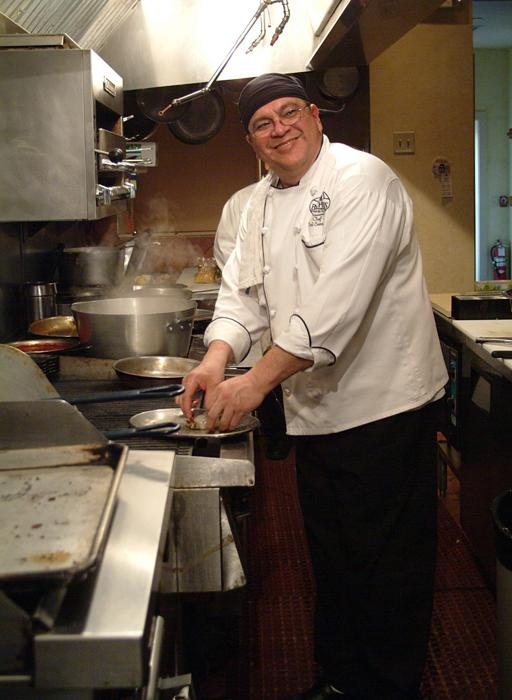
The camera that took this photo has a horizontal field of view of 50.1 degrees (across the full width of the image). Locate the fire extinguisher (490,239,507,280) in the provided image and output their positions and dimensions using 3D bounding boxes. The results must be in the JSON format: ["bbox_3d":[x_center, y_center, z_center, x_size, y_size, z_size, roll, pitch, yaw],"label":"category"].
[{"bbox_3d":[2.885,-1.074,6.500,0.215,0.450,0.215,4,13,24],"label":"fire extinguisher"}]

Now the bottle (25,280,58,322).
[{"bbox_3d":[-0.810,-0.182,2.077,0.115,0.149,0.097,-8,14,-31],"label":"bottle"}]

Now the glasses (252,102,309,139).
[{"bbox_3d":[0.055,-0.566,1.342,0.141,0.082,0.067,0,12,4],"label":"glasses"}]

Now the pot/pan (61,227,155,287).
[{"bbox_3d":[-0.752,-0.441,2.803,0.229,0.188,0.652,0,12,5],"label":"pot/pan"}]

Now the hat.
[{"bbox_3d":[0.040,-0.632,1.393,0.143,0.108,0.144,-10,13,19],"label":"hat"}]
